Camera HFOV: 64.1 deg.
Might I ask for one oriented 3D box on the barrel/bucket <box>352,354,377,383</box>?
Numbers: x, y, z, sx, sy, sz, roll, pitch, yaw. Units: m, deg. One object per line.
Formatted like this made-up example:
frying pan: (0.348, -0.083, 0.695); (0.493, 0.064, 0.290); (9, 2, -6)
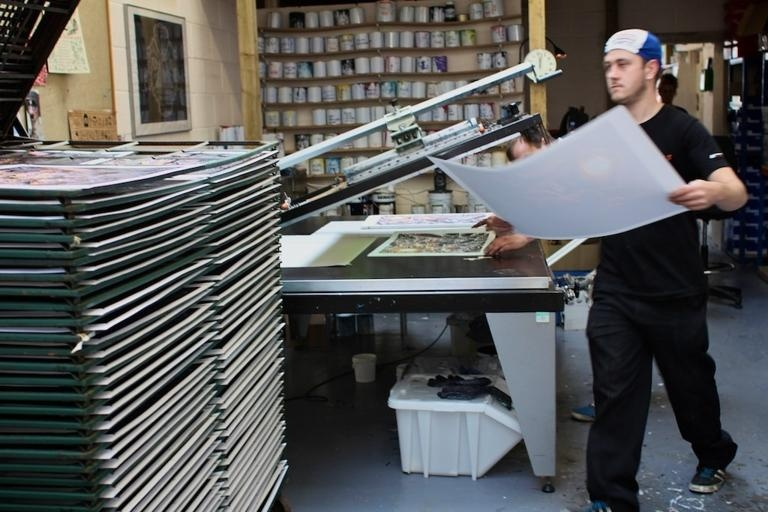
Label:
barrel/bucket: (-0.133, 0.767, 4.255); (0.201, 0.141, 0.199); (0, 14, 0)

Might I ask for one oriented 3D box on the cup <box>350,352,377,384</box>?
cup: (-0.130, 0.774, 4.253); (0.207, 0.142, 0.196); (1, 13, 0)

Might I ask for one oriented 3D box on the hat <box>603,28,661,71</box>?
hat: (1.081, -0.883, 2.609); (0.318, 0.134, 0.202); (-4, 14, -42)

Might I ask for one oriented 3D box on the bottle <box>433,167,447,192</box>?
bottle: (0.674, -0.866, 7.309); (0.250, 0.228, 0.241); (-1, 8, 4)

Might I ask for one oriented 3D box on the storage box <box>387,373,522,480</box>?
storage box: (0.370, 0.886, 3.172); (0.624, 0.262, 0.448); (1, 7, 6)

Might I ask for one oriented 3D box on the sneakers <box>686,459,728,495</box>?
sneakers: (1.557, 1.066, 2.938); (0.090, 0.084, 0.224); (-5, -1, 30)

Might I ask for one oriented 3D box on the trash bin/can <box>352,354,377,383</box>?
trash bin/can: (-0.128, 0.773, 4.256); (0.200, 0.141, 0.189); (-1, 14, 10)

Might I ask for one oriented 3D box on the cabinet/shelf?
cabinet/shelf: (0.173, -0.634, 3.443); (1.619, 0.484, 0.856); (-18, 9, 20)

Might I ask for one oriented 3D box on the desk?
desk: (0.231, 0.368, 3.034); (1.155, 0.677, 1.455); (0, 16, 7)
